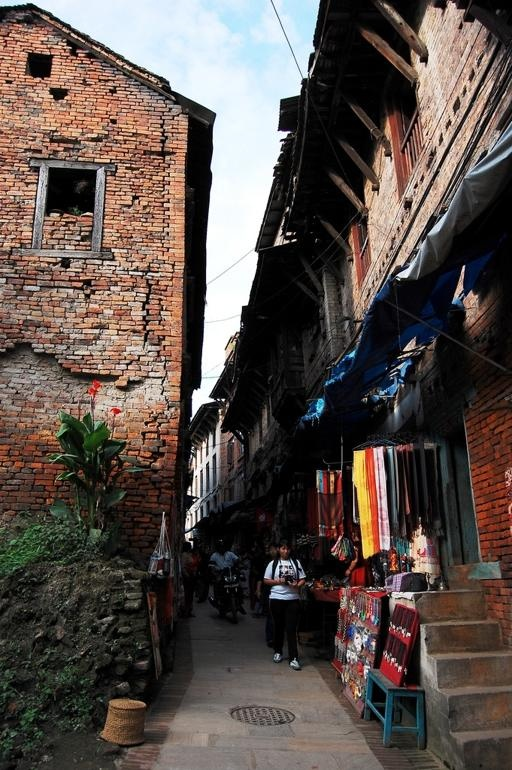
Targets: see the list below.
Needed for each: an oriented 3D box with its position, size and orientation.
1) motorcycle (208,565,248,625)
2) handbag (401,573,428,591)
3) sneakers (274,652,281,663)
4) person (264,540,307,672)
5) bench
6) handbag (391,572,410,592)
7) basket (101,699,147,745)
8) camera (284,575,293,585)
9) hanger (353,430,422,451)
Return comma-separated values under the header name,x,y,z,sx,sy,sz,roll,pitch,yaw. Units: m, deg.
name,x,y,z,sx,sy,sz,roll,pitch,yaw
motorcycle,-0.654,4.716,11.184,0.714,0.984,1.711,0,-34,-8
handbag,1.425,1.763,4.511,0.147,0.159,0.216,-2,-14,6
sneakers,0.287,3.628,6.782,0.101,0.153,0.148,-2,-16,6
person,0.378,2.850,6.576,0.496,1.524,0.719,-1,-13,4
bench,1.067,2.300,3.858,0.288,0.448,0.670,0,4,5
handbag,1.339,1.814,4.660,0.126,0.229,0.171,17,-24,-17
basket,-0.912,2.339,3.593,0.259,0.219,0.278,1,-15,23
camera,0.410,2.438,6.340,0.086,0.082,0.036,-1,-13,0
hanger,1.777,0.781,6.989,0.565,0.303,1.459,-1,-14,-1
